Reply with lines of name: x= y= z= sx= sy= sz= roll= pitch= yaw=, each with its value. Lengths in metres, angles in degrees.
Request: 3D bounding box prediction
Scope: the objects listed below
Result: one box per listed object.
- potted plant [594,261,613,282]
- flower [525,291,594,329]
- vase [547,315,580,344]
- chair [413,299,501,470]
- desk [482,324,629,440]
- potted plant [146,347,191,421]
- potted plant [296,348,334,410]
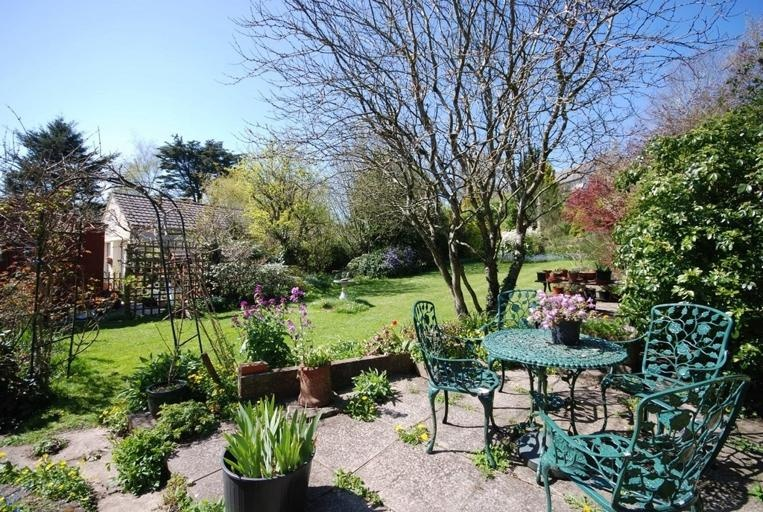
potted plant: x=5.512 y=0.375 z=11.800 sx=0.462 sy=0.504 sz=0.471 roll=0 pitch=4 yaw=3
flower: x=2.065 y=0.612 z=5.738 sx=0.528 sy=0.311 sz=0.537 roll=-5 pitch=5 yaw=-1
vase: x=2.130 y=0.871 z=5.599 sx=0.291 sy=0.225 sz=0.309 roll=3 pitch=-10 yaw=-16
chair: x=0.943 y=1.462 z=5.882 sx=0.942 sy=1.840 sz=1.000 roll=-5 pitch=0 yaw=12
desk: x=1.947 y=1.137 z=5.457 sx=1.345 sy=0.909 sz=1.317 roll=1 pitch=1 yaw=8
potted plant: x=-2.809 y=1.682 z=6.390 sx=0.512 sy=0.879 sz=0.727 roll=-5 pitch=0 yaw=13
potted plant: x=-0.900 y=1.613 z=6.430 sx=0.607 sy=0.867 sz=0.654 roll=-1 pitch=-1 yaw=8
